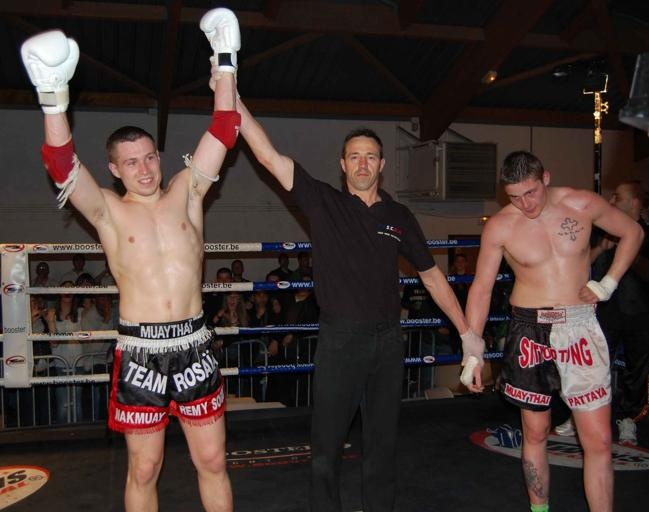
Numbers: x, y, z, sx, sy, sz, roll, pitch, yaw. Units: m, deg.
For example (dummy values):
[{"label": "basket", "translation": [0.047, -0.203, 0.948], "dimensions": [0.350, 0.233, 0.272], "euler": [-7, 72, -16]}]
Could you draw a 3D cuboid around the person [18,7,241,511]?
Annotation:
[{"label": "person", "translation": [-1.066, 0.172, 3.471], "dimensions": [0.969, 2.790, 0.308], "euler": [-3, 3, -22]}]

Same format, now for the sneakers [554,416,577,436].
[{"label": "sneakers", "translation": [2.050, 1.462, 5.141], "dimensions": [0.212, 0.099, 0.079], "euler": [1, -1, -17]}]

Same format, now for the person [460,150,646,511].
[{"label": "person", "translation": [1.545, 0.497, 3.894], "dimensions": [1.104, 2.346, 0.590], "euler": [-3, 2, -12]}]

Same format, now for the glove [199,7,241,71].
[{"label": "glove", "translation": [-0.577, -1.251, 3.515], "dimensions": [0.207, 0.397, 0.141], "euler": [-10, 8, 11]}]

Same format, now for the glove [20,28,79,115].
[{"label": "glove", "translation": [-1.467, -0.984, 3.237], "dimensions": [0.289, 0.416, 0.211], "euler": [-15, 37, -35]}]

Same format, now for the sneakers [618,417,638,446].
[{"label": "sneakers", "translation": [2.536, 1.445, 5.034], "dimensions": [0.098, 0.110, 0.278], "euler": [-1, 25, 13]}]
